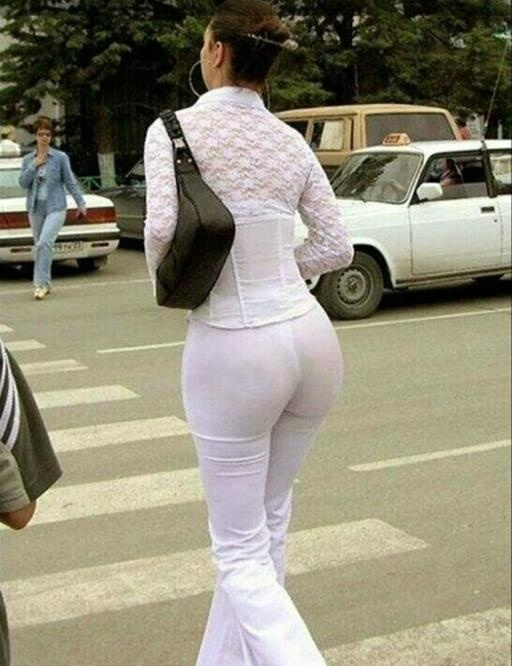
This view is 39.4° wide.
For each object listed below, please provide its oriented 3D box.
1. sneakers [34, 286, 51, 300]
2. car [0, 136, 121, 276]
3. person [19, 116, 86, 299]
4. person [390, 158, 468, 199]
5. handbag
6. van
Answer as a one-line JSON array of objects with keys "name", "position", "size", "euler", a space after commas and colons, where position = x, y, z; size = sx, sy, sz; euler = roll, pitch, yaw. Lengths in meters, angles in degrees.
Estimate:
[{"name": "sneakers", "position": [-3.005, -0.557, 9.995], "size": [0.127, 0.159, 0.380], "euler": [1, 3, -2]}, {"name": "car", "position": [-3.141, -1.643, 11.085], "size": [1.438, 1.076, 2.462], "euler": [-12, 25, -32]}, {"name": "person", "position": [-2.914, -1.748, 10.013], "size": [0.542, 2.458, 0.875], "euler": [6, 13, 29]}, {"name": "person", "position": [2.197, -1.856, 8.881], "size": [0.836, 0.359, 0.500], "euler": [-10, 27, -13]}, {"name": "handbag", "position": [-0.137, -0.213, 1.483], "size": [0.163, 0.327, 0.094], "euler": [9, 15, 38]}, {"name": "van", "position": [2.259, -3.876, 13.690], "size": [3.414, 1.767, 2.069], "euler": [-11, 18, -28]}]
